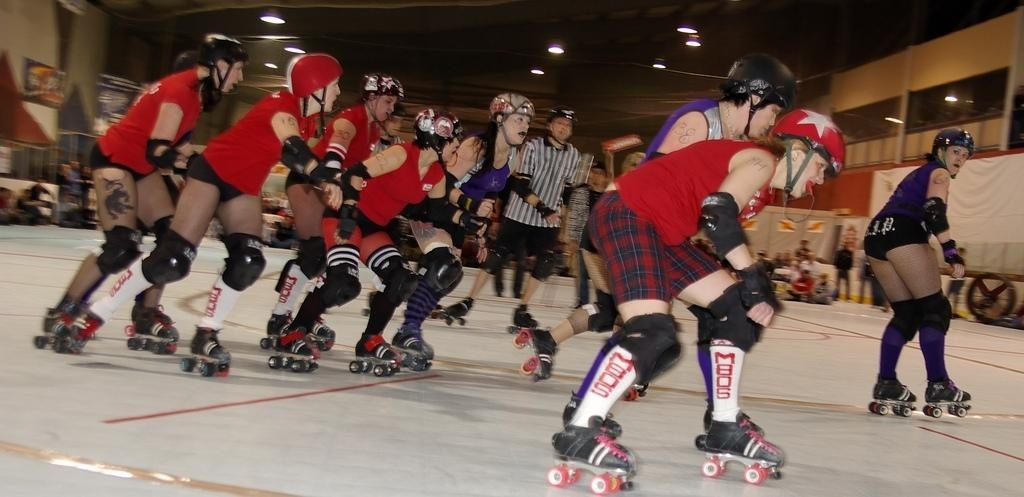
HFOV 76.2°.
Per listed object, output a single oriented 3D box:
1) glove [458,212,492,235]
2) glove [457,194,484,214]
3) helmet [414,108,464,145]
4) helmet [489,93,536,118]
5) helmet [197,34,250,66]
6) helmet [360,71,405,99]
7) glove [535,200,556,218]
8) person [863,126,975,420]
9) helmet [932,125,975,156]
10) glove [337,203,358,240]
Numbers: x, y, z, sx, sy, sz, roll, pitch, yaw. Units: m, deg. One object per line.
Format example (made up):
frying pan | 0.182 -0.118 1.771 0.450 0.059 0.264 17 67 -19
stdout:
glove | -0.505 -0.330 9.009 0.398 0.155 0.303 11 -6 -27
glove | -0.561 -0.615 9.150 0.211 0.143 0.489 3 -6 22
helmet | -0.966 -1.505 8.152 0.673 0.444 0.491 7 10 -28
helmet | -0.040 -2.042 9.242 0.491 0.255 0.460 1 0 33
helmet | -3.512 -2.390 7.875 0.452 0.409 0.586 29 28 17
helmet | -1.679 -2.116 8.481 0.529 0.257 0.368 27 -1 3
glove | 0.520 -0.601 10.262 0.303 0.147 0.245 22 -11 40
person | 5.204 0.236 8.315 1.328 3.432 0.618 9 -1 0
helmet | 5.712 -1.384 8.576 0.584 0.395 0.510 3 6 36
glove | -1.947 -0.320 7.750 0.256 0.388 0.101 10 -3 -8
